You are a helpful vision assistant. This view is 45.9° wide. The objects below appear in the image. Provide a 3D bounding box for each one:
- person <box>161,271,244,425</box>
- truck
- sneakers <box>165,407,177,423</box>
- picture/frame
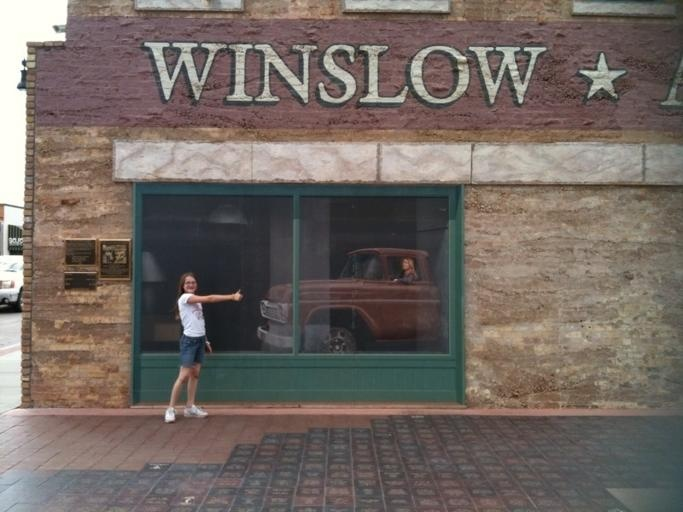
[{"bbox_3d":[-2.294,1.436,13.162,1.209,2.351,0.946,-2,0,6],"label":"person"},{"bbox_3d":[0.111,0.785,14.380,2.915,1.455,1.597,1,-2,-5],"label":"truck"},{"bbox_3d":[-2.756,2.488,12.941,0.183,0.254,0.384,-2,1,-12],"label":"sneakers"},{"bbox_3d":[-4.136,0.190,13.512,1.042,0.726,0.106,0,-1,-5],"label":"picture/frame"}]
